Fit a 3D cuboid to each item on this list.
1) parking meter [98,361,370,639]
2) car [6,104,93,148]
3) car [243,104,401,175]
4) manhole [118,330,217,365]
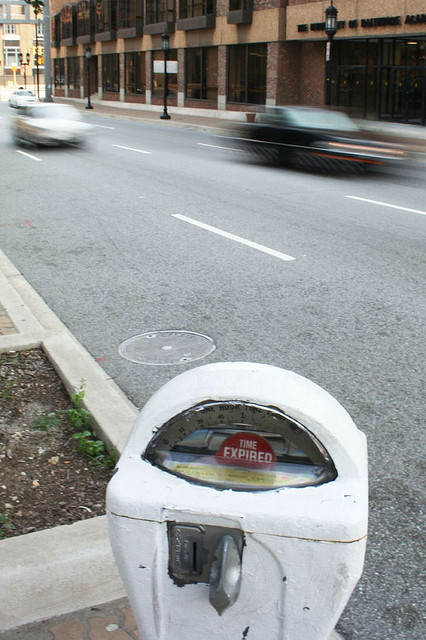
[{"bbox_3d":[0.060,0.354,1.351,0.617,0.822,0.580,0,3,6],"label":"parking meter"},{"bbox_3d":[-6.225,-7.404,20.585,2.751,1.761,1.946,4,13,-7],"label":"car"},{"bbox_3d":[2.968,-5.104,15.257,1.501,1.924,4.356,-4,16,-39],"label":"car"},{"bbox_3d":[-0.401,0.225,4.766,0.829,0.147,0.753,5,13,-5],"label":"manhole"}]
